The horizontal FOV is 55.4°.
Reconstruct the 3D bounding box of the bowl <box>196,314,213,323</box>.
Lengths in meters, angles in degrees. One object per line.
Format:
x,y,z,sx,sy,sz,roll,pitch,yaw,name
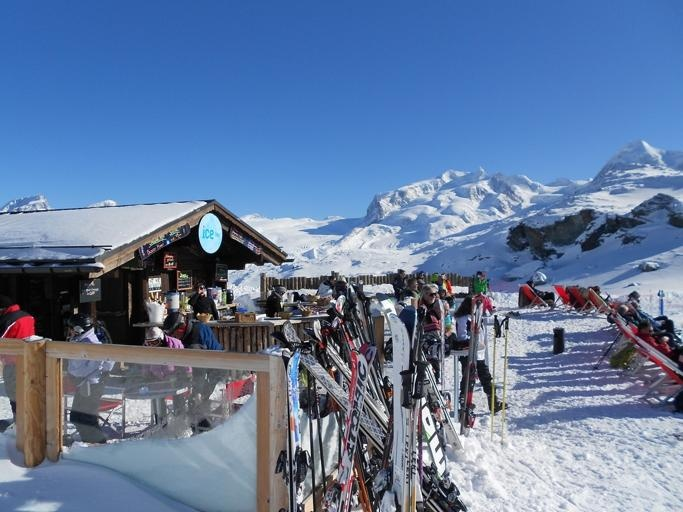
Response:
-2.771,1.246,13.135,0.311,0.151,0.300,-1,2,0,bowl

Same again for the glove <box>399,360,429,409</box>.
0.780,1.438,7.274,0.270,0.531,0.165,6,11,3,glove

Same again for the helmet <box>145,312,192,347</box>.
-2.473,1.105,9.397,0.310,0.575,0.461,20,1,20,helmet

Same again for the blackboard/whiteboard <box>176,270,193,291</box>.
-3.783,0.582,15.630,0.178,0.534,0.760,7,11,7,blackboard/whiteboard

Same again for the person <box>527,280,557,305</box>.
7.874,1.424,25.434,1.201,1.220,0.899,-3,1,20,person

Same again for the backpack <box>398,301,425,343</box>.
0.816,0.789,7.647,0.202,0.711,0.111,-1,-20,9,backpack
